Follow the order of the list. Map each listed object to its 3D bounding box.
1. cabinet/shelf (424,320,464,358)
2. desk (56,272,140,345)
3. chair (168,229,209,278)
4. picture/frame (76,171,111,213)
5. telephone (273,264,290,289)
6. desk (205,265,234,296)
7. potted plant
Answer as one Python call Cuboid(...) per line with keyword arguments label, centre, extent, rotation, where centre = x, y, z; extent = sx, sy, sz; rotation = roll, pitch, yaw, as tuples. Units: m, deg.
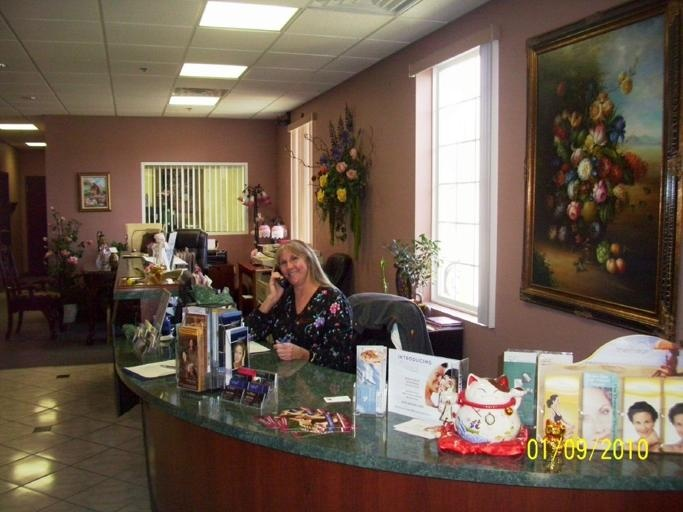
Cuboid(label="cabinet/shelf", centre=(0.899, 0.664, 4.811), extent=(0.390, 0.416, 0.285), rotation=(-1, 0, -13))
Cuboid(label="desk", centre=(-2.880, 0.636, 6.323), extent=(0.671, 0.954, 0.939), rotation=(-1, 3, -26))
Cuboid(label="chair", centre=(-2.335, -0.067, 8.414), extent=(0.479, 0.643, 0.647), rotation=(-5, 10, -17))
Cuboid(label="picture/frame", centre=(-4.249, -1.108, 9.209), extent=(0.655, 0.972, 0.099), rotation=(0, 6, -14))
Cuboid(label="telephone", centre=(-0.404, 0.130, 3.647), extent=(0.089, 0.066, 0.177), rotation=(0, -20, -10))
Cuboid(label="desk", centre=(-2.088, 0.435, 9.380), extent=(0.545, 0.593, 0.447), rotation=(-7, 11, -29))
Cuboid(label="potted plant", centre=(0.645, 0.124, 5.100), extent=(0.570, 0.701, 0.548), rotation=(1, -1, -18))
